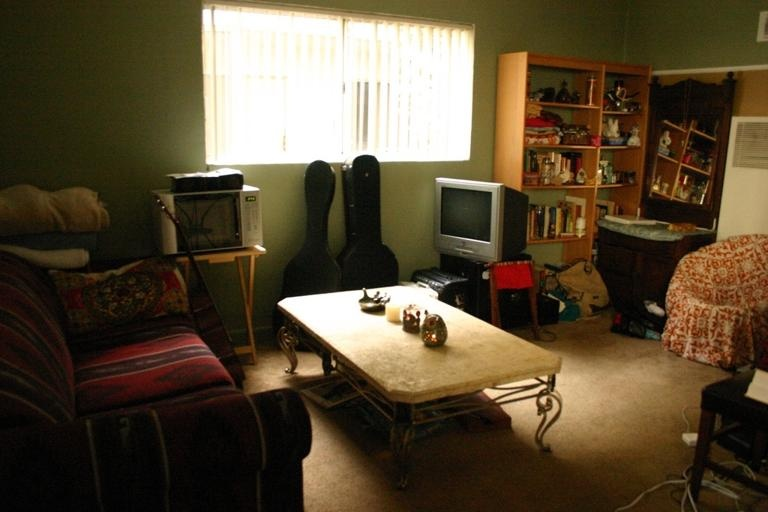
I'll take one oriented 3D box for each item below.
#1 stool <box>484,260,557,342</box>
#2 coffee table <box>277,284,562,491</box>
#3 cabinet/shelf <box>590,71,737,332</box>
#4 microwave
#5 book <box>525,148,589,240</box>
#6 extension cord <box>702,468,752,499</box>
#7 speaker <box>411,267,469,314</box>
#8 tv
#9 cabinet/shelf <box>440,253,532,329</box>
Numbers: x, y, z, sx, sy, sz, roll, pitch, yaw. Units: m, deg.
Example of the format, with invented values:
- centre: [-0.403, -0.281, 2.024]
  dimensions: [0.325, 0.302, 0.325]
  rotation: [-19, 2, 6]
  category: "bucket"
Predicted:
- centre: [1.140, 0.403, 4.958]
  dimensions: [0.670, 0.717, 0.267]
  rotation: [-5, 9, -13]
  category: "stool"
- centre: [0.299, 0.360, 3.397]
  dimensions: [1.109, 0.458, 1.743]
  rotation: [-7, 14, -26]
  category: "coffee table"
- centre: [2.592, -0.387, 5.558]
  dimensions: [0.906, 2.337, 1.024]
  rotation: [-13, 18, -36]
  category: "cabinet/shelf"
- centre: [-1.297, -0.307, 4.350]
  dimensions: [0.817, 0.503, 0.496]
  rotation: [-5, 8, -28]
  category: "microwave"
- centre: [1.672, -0.597, 5.614]
  dimensions: [0.978, 0.829, 0.303]
  rotation: [-1, 3, -28]
  category: "book"
- centre: [1.884, 1.261, 3.231]
  dimensions: [0.102, 0.051, 0.134]
  rotation: [-6, 15, -38]
  category: "extension cord"
- centre: [0.489, 0.229, 5.097]
  dimensions: [0.339, 0.352, 0.458]
  rotation: [-8, 16, -29]
  category: "speaker"
- centre: [0.830, -0.373, 5.217]
  dimensions: [0.804, 0.758, 0.755]
  rotation: [-8, 11, -37]
  category: "tv"
- centre: [0.917, 0.182, 5.324]
  dimensions: [0.897, 0.805, 0.610]
  rotation: [-2, 4, -21]
  category: "cabinet/shelf"
